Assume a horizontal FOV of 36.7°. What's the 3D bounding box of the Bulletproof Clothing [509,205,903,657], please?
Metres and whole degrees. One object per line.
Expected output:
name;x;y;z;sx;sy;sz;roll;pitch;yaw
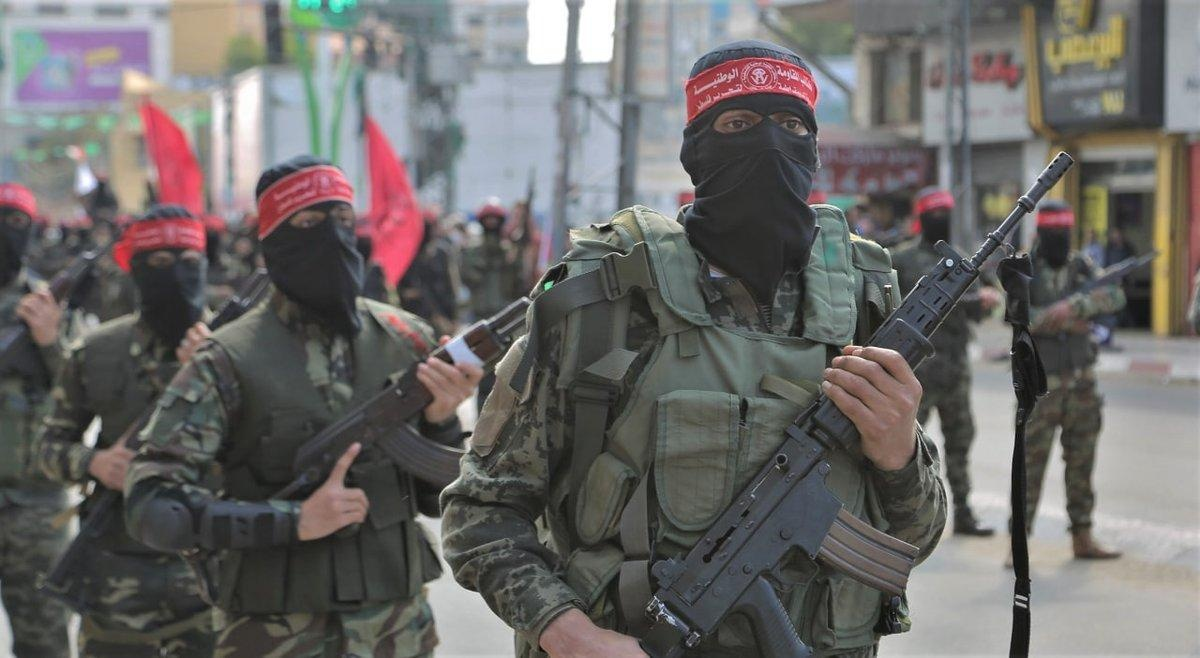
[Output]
Bulletproof Clothing;0.517;0.597;9.193;2.313;2.234;1.329;1;-3;-18

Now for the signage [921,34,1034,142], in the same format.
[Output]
signage;2.264;-1.416;10.717;0.700;0.647;0.393;-1;-12;21

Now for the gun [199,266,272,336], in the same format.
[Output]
gun;-2.359;-0.188;11.716;0.670;0.138;0.269;-43;14;-5

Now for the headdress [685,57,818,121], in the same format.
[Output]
headdress;0.807;-1.237;9.613;0.707;0.191;0.723;-8;-10;22

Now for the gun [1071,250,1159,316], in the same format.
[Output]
gun;3.225;-0.291;11.394;0.382;0.317;1.885;-2;2;18
